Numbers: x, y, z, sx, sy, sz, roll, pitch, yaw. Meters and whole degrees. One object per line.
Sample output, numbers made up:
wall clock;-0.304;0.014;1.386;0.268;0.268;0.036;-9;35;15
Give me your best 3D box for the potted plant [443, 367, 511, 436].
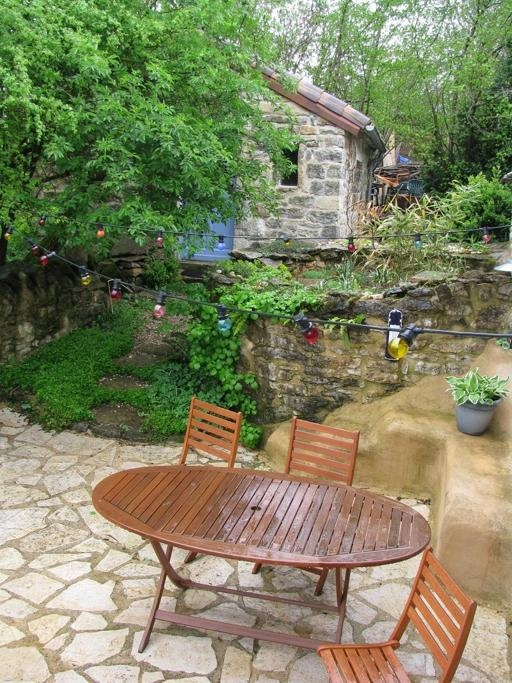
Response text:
potted plant;1.739;0.495;4.456;0.595;0.463;0.547;2;10;8
